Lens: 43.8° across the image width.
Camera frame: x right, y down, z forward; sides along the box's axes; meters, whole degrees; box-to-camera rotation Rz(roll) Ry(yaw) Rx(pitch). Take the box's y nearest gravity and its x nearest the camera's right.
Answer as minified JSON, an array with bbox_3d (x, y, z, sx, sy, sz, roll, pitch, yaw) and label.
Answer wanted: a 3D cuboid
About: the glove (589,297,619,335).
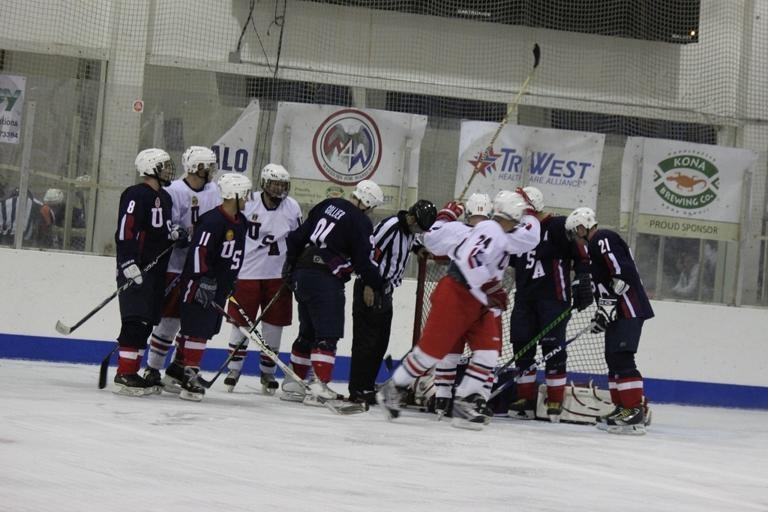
[{"bbox_3d":[2.084,0.546,9.137,0.207,0.350,0.142,20,10,-32],"label":"glove"}]

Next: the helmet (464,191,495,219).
[{"bbox_3d":[0.875,-0.465,8.766,0.190,0.244,0.244,1,-21,1],"label":"helmet"}]

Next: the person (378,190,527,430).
[{"bbox_3d":[0.706,0.419,8.517,1.223,1.803,0.565,6,-2,0],"label":"person"}]

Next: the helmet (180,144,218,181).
[{"bbox_3d":[-1.754,-0.910,8.964,0.337,0.314,0.263,-4,23,-26],"label":"helmet"}]

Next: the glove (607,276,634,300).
[{"bbox_3d":[2.195,0.274,8.980,0.168,0.170,0.041,15,5,-16],"label":"glove"}]

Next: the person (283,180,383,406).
[{"bbox_3d":[-0.526,0.312,8.877,0.637,1.896,0.915,7,-2,-44],"label":"person"}]

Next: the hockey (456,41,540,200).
[{"bbox_3d":[1.341,-1.587,11.070,0.193,0.138,2.632,31,-31,4],"label":"hockey"}]

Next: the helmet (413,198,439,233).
[{"bbox_3d":[0.329,-0.402,8.915,0.267,0.261,0.219,26,8,39],"label":"helmet"}]

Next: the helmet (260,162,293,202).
[{"bbox_3d":[-1.077,-0.767,9.431,0.280,0.348,0.354,1,16,-39],"label":"helmet"}]

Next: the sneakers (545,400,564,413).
[{"bbox_3d":[1.618,1.448,9.162,0.132,0.116,0.052,6,-2,-3],"label":"sneakers"}]

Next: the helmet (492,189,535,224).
[{"bbox_3d":[1.191,-0.491,8.736,0.293,0.294,0.237,25,24,36],"label":"helmet"}]

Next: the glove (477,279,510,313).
[{"bbox_3d":[0.953,0.327,8.476,0.188,0.297,0.278,-6,3,5],"label":"glove"}]

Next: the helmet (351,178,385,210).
[{"bbox_3d":[-0.157,-0.603,9.147,0.286,0.249,0.233,36,9,-21],"label":"helmet"}]

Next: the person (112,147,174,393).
[{"bbox_3d":[-2.174,0.111,8.630,0.535,2.210,0.385,6,-2,-31],"label":"person"}]

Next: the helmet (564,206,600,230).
[{"bbox_3d":[1.900,-0.376,9.327,0.259,0.243,0.204,5,-5,19],"label":"helmet"}]

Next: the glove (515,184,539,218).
[{"bbox_3d":[1.384,-0.568,9.220,0.283,0.290,0.228,-1,3,-8],"label":"glove"}]

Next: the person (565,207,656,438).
[{"bbox_3d":[2.133,0.581,9.081,0.851,1.676,0.415,5,-2,27],"label":"person"}]

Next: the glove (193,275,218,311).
[{"bbox_3d":[-1.594,0.303,8.484,0.184,0.263,0.109,6,-2,-9],"label":"glove"}]

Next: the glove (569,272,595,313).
[{"bbox_3d":[1.915,0.330,9.275,0.236,0.349,0.177,-7,-8,30],"label":"glove"}]

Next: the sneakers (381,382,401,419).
[{"bbox_3d":[0.083,1.258,8.492,0.128,0.395,0.177,4,-41,-23],"label":"sneakers"}]

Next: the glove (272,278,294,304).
[{"bbox_3d":[-0.953,0.310,9.204,0.181,0.247,0.098,46,17,22],"label":"glove"}]

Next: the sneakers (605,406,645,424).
[{"bbox_3d":[2.242,1.476,8.877,0.418,0.198,0.152,-1,0,23],"label":"sneakers"}]

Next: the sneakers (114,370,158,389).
[{"bbox_3d":[-2.213,1.093,8.522,0.252,0.102,0.166,2,-4,-4],"label":"sneakers"}]

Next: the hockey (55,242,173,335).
[{"bbox_3d":[-2.695,0.339,9.468,0.226,1.276,0.142,47,3,-28],"label":"hockey"}]

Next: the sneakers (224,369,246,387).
[{"bbox_3d":[-1.488,1.187,9.399,0.085,0.118,0.272,11,11,-3],"label":"sneakers"}]

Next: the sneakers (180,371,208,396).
[{"bbox_3d":[-1.701,1.132,8.535,0.212,0.194,0.145,6,-2,-14],"label":"sneakers"}]

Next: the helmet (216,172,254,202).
[{"bbox_3d":[-1.369,-0.691,8.684,0.270,0.262,0.217,-8,34,-15],"label":"helmet"}]

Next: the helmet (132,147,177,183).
[{"bbox_3d":[-2.109,-0.833,8.790,0.336,0.342,0.266,-4,3,12],"label":"helmet"}]
